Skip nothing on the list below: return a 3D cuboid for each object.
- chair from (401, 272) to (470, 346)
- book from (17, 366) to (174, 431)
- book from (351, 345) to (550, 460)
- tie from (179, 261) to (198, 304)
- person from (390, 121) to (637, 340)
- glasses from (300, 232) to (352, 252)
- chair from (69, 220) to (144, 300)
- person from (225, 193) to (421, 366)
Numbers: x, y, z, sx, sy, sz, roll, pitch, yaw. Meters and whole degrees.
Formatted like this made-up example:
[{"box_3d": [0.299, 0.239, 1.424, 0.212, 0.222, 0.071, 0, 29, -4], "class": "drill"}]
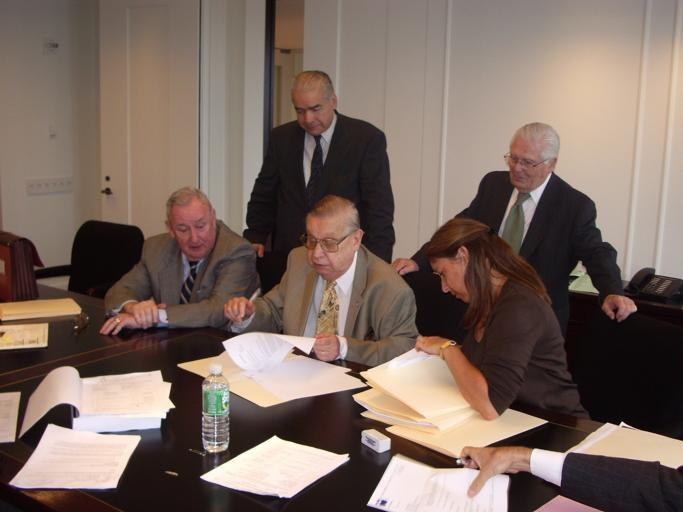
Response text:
[{"box_3d": [0.456, 0.251, 2.561, 0.281, 0.376, 0.239, -1, 5, -45], "class": "chair"}, {"box_3d": [-0.806, 0.499, 1.795, 0.269, 0.076, 0.275, -2, 12, -17], "class": "book"}, {"box_3d": [0.300, 0.512, 1.818, 0.324, 0.108, 0.339, -20, 25, -40], "class": "book"}, {"box_3d": [-0.873, 0.150, 3.064, 0.060, 0.216, 0.148, 7, -4, 15], "class": "tie"}, {"box_3d": [1.080, -0.191, 3.084, 1.108, 1.660, 0.482, 20, 22, 38], "class": "person"}, {"box_3d": [-0.082, -0.057, 2.498, 0.117, 0.043, 0.128, 6, 17, 26], "class": "glasses"}, {"box_3d": [-1.633, 0.041, 3.678, 0.393, 0.638, 0.339, 9, 11, 25], "class": "chair"}, {"box_3d": [-0.110, 0.131, 2.722, 0.595, 1.077, 0.535, 13, 17, 42], "class": "person"}]
